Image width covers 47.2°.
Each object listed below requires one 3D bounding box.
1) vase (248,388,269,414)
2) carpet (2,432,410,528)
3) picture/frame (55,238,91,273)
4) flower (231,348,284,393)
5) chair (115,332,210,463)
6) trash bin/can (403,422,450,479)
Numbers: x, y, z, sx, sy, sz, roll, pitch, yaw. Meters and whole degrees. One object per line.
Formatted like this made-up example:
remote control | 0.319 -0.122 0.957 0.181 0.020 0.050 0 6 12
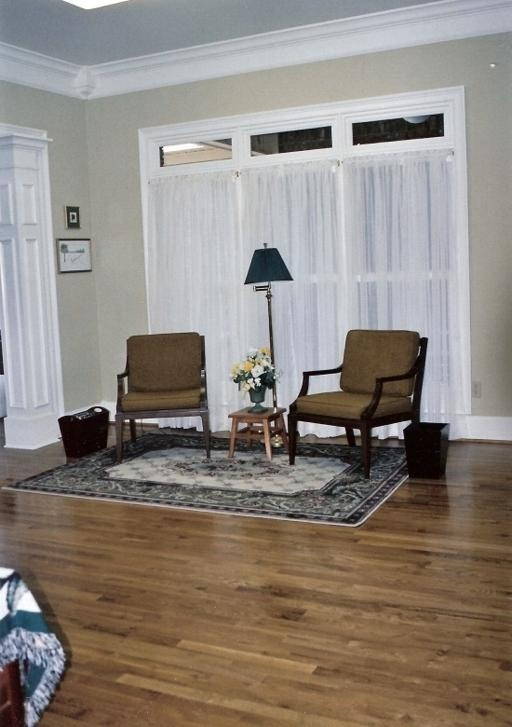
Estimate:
vase | 0.048 0.305 4.654 0.170 0.218 0.172 -1 -4 3
carpet | -0.197 0.793 4.299 2.486 0.064 1.547 -1 6 24
picture/frame | -1.868 -1.099 5.951 0.018 0.281 0.390 1 7 26
flower | -0.008 0.079 4.705 0.340 0.307 0.352 -7 39 7
chair | -0.796 0.256 5.018 0.877 1.250 0.964 -1 3 -1
trash bin/can | 1.185 0.591 4.068 0.268 0.354 0.340 -1 6 21
